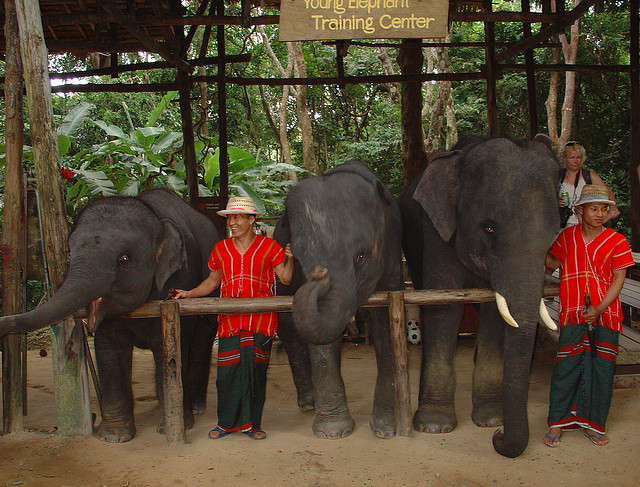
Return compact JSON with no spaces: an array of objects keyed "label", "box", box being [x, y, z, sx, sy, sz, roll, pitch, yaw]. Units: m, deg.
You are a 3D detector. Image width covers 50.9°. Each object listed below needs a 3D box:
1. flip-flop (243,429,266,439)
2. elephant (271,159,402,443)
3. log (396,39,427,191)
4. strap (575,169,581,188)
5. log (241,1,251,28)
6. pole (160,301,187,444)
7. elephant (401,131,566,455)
[{"label":"flip-flop","box":[-0.536,1.554,5.468,0.181,0.075,0.063,-1,1,11]},{"label":"elephant","box":[0.169,0.432,5.958,0.943,2.320,2.947,-3,5,2]},{"label":"log","box":[1.468,-2.000,10.438,0.486,2.384,0.438,0,-7,2]},{"label":"strap","box":[2.245,-0.557,5.835,0.051,0.150,0.037,-2,6,2]},{"label":"log","box":[-0.695,-2.134,6.281,0.080,0.218,0.233,-2,6,-6]},{"label":"pole","box":[-1.172,1.020,5.313,0.154,1.141,0.133,-4,6,-18]},{"label":"elephant","box":[1.445,0.354,6.182,1.353,2.666,2.952,0,2,-2]}]
